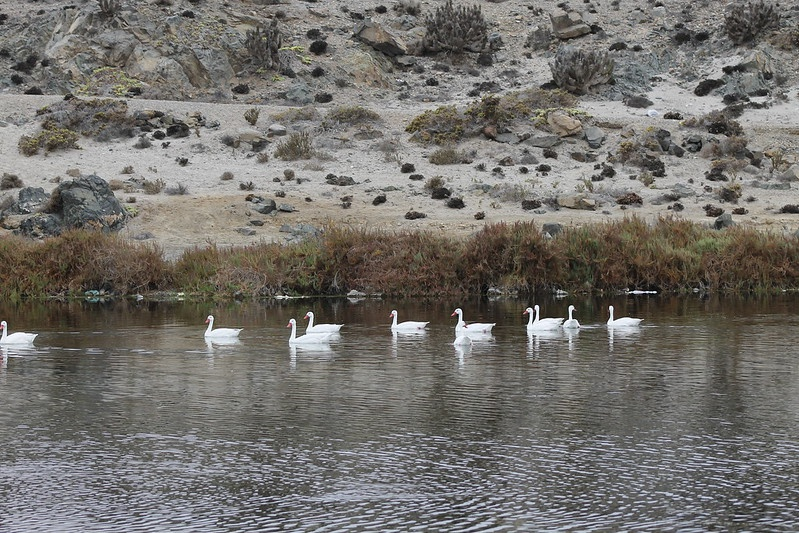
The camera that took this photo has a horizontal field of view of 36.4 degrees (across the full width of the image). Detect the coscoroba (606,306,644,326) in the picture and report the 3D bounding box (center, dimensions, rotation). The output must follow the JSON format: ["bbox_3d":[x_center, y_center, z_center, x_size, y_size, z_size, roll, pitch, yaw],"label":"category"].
[{"bbox_3d":[6.712,1.533,36.410,1.024,0.653,0.941,2,14,15],"label":"coscoroba"}]

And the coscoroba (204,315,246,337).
[{"bbox_3d":[-5.242,1.831,35.327,1.363,0.748,0.489,1,0,3],"label":"coscoroba"}]

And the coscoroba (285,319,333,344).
[{"bbox_3d":[-2.547,1.829,34.682,1.300,0.749,1.248,-2,14,-3],"label":"coscoroba"}]

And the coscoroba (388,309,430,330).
[{"bbox_3d":[0.236,1.685,36.281,1.327,0.695,0.471,1,1,-2],"label":"coscoroba"}]

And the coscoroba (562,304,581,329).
[{"bbox_3d":[5.135,1.646,36.438,0.467,0.503,0.832,0,-5,-2],"label":"coscoroba"}]
